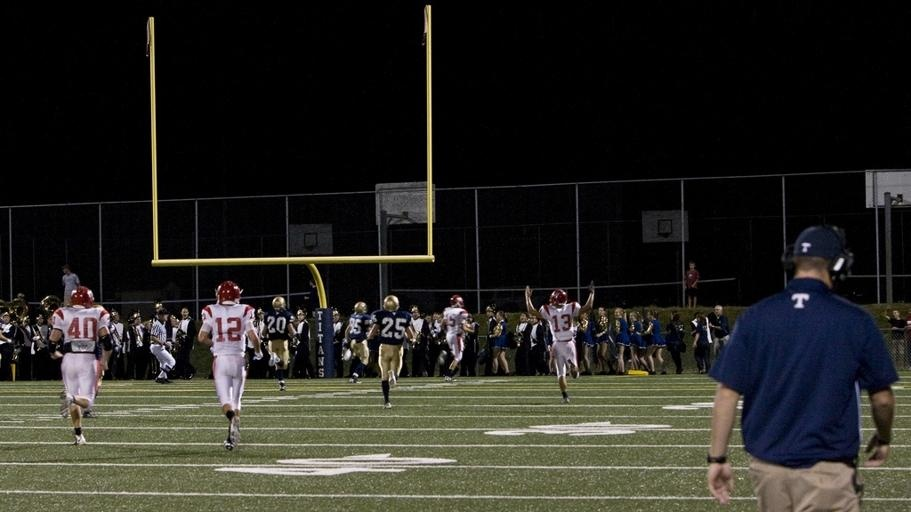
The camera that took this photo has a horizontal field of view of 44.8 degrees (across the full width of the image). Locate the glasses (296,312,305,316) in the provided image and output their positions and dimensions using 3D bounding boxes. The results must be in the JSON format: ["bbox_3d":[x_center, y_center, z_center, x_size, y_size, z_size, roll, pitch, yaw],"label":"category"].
[{"bbox_3d":[-4.358,1.631,31.037,0.137,0.136,0.164,2,-13,-40],"label":"glasses"}]

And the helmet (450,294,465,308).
[{"bbox_3d":[0.103,1.296,31.381,0.446,0.360,0.357,-3,6,-23],"label":"helmet"}]

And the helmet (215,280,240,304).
[{"bbox_3d":[-4.132,0.664,20.114,0.443,0.417,0.538,0,5,-9],"label":"helmet"}]

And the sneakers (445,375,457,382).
[{"bbox_3d":[-0.075,3.368,30.276,0.372,0.219,0.117,4,-1,-25],"label":"sneakers"}]

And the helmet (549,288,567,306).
[{"bbox_3d":[2.234,0.908,24.300,0.324,0.364,0.364,4,7,17],"label":"helmet"}]

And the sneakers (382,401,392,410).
[{"bbox_3d":[-1.483,3.221,23.771,0.175,0.182,0.450,1,-3,-4],"label":"sneakers"}]

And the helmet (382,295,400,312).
[{"bbox_3d":[-1.434,1.058,24.429,0.333,0.381,0.408,5,11,-1],"label":"helmet"}]

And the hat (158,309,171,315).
[{"bbox_3d":[-8.376,1.618,31.625,0.423,0.169,0.566,2,-1,10],"label":"hat"}]

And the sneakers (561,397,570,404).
[{"bbox_3d":[2.412,3.134,23.918,0.142,0.082,0.167,1,3,1],"label":"sneakers"}]

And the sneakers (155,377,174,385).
[{"bbox_3d":[-8.295,3.550,31.235,0.578,0.215,0.183,1,1,-7],"label":"sneakers"}]

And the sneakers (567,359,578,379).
[{"bbox_3d":[2.559,2.511,24.191,0.176,0.517,0.238,-16,-2,13],"label":"sneakers"}]

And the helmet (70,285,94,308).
[{"bbox_3d":[-6.901,0.762,20.321,0.386,0.367,0.451,1,-7,-23],"label":"helmet"}]
